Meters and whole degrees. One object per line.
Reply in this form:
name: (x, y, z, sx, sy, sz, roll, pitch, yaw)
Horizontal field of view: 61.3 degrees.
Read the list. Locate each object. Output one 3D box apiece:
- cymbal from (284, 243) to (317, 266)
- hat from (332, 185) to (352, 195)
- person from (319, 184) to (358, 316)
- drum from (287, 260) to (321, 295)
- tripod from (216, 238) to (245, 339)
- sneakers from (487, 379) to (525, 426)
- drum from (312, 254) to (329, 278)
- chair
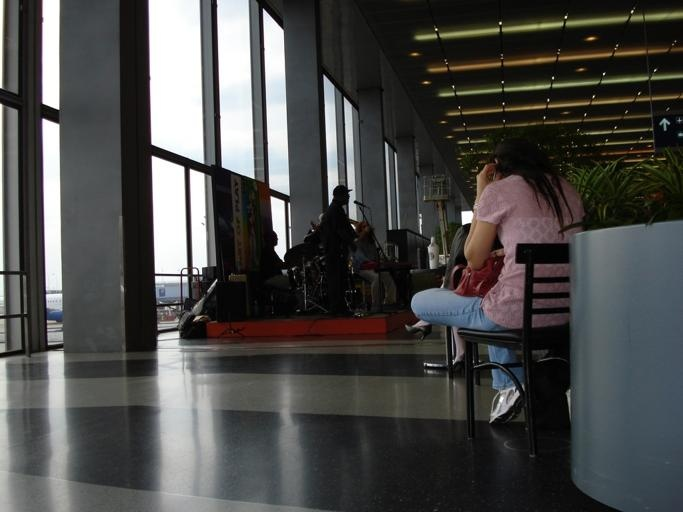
cymbal: (-0.540, -0.010, 7.612, 0.298, 0.152, 0.329, -32, -49, 15)
hat: (0.043, -0.876, 7.606, 0.214, 0.144, 0.339, 2, 6, 35)
person: (-0.018, -0.076, 7.487, 0.509, 1.681, 0.485, -2, -6, 17)
drum: (-0.495, 0.269, 8.095, 0.352, 0.489, 0.490, 1, 3, 9)
tripod: (-1.429, 0.414, 7.539, 0.369, 1.173, 0.499, 1, -6, -13)
sneakers: (0.806, 0.703, 2.858, 0.105, 0.147, 0.339, 13, -47, -8)
drum: (-0.277, 0.119, 7.907, 0.175, 0.350, 0.199, -16, 18, -14)
chair: (0.863, 0.412, 2.798, 0.611, 0.882, 0.620, -2, -1, 18)
